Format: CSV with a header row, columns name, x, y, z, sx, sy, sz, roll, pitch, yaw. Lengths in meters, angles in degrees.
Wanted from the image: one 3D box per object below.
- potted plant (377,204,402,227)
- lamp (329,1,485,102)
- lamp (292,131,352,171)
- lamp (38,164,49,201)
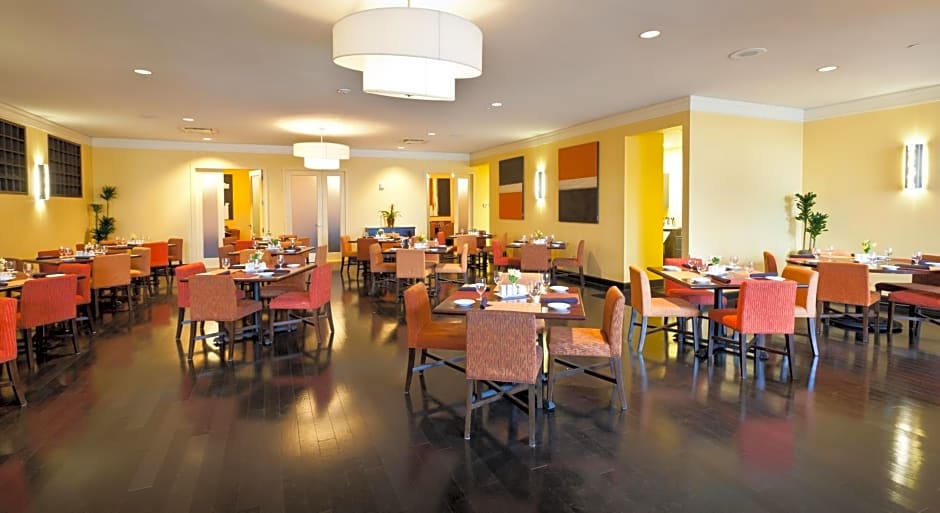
name,x,y,z,sx,sy,sz,roll,pitch,yaw
potted plant,-2.363,-1.243,17.133,0.715,0.587,0.760,1,-1,45
lamp,-0.859,-2.833,7.884,1.561,1.023,1.570,0,3,-5
lamp,-3.366,-2.313,12.835,1.136,0.656,1.057,-3,12,-22
lamp,-9.448,-1.651,12.529,0.159,0.797,0.335,-5,14,-16
